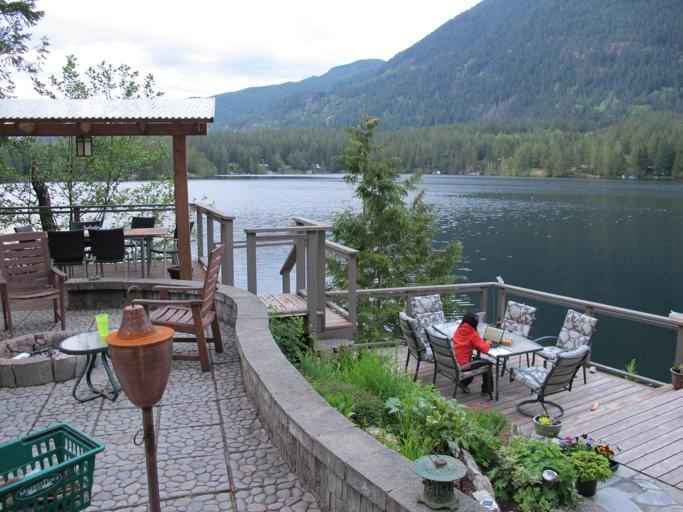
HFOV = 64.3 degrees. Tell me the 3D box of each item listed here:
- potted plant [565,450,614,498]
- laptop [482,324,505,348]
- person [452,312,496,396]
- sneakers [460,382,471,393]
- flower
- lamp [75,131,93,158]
[{"bbox_3d":[2.329,2.056,5.178,0.412,0.438,0.427,-1,3,-44],"label":"potted plant"},{"bbox_3d":[2.146,1.127,7.603,0.292,0.280,0.181,5,0,42],"label":"laptop"},{"bbox_3d":[1.792,1.362,7.339,0.537,1.188,0.753,11,16,43],"label":"person"},{"bbox_3d":[1.725,1.835,7.541,0.061,0.157,0.051,-25,0,-17],"label":"sneakers"},{"bbox_3d":[2.357,1.844,5.571,0.542,0.302,0.720,20,2,-42],"label":"flower"},{"bbox_3d":[-4.296,-1.841,9.022,0.242,0.357,0.571,-5,13,-26],"label":"lamp"}]
